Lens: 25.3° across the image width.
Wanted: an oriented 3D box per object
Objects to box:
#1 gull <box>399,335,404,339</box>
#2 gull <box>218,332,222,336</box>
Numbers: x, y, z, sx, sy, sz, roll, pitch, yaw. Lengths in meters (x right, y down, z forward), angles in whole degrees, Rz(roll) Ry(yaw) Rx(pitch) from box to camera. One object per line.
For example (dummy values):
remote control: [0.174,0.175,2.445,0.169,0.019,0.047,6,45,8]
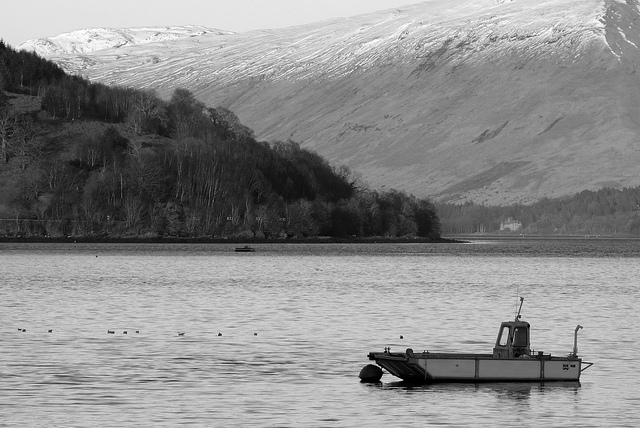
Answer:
gull: [13.530,20.867,242.368,0.442,0.508,0.594,5,10,16]
gull: [-17.395,20.790,246.375,0.447,0.466,0.433,-1,-10,17]
